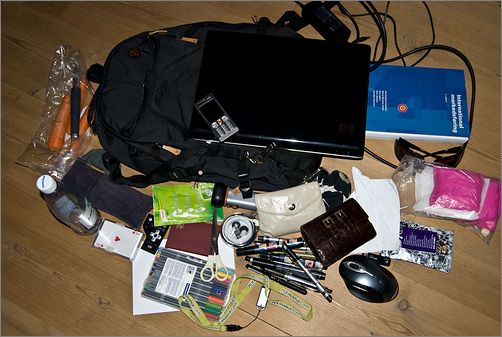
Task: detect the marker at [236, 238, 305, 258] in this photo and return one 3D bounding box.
[{"bbox_3d":[0.087,0.348,1.902,0.301,0.040,0.044,-8,31,-2],"label":"marker"}]

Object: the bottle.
[{"bbox_3d":[-0.780,0.169,1.853,0.090,0.384,0.151,39,75,15],"label":"bottle"}]

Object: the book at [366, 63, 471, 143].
[{"bbox_3d":[0.758,-0.297,1.983,0.481,0.092,0.334,6,82,3],"label":"book"}]

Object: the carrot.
[{"bbox_3d":[-0.846,-0.246,2.021,0.182,0.084,0.330,10,81,-5],"label":"carrot"}]

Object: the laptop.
[{"bbox_3d":[0.138,-0.344,1.908,0.760,0.087,0.508,7,77,4],"label":"laptop"}]

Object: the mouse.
[{"bbox_3d":[0.501,0.464,1.855,0.260,0.087,0.191,31,72,39],"label":"mouse"}]

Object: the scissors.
[{"bbox_3d":[-0.169,0.336,1.902,0.126,0.072,0.326,-3,76,2],"label":"scissors"}]

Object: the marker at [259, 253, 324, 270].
[{"bbox_3d":[0.186,0.410,1.893,0.316,0.044,0.042,6,56,7],"label":"marker"}]

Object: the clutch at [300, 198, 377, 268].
[{"bbox_3d":[0.379,0.277,1.857,0.284,0.099,0.202,-29,77,-5],"label":"clutch"}]

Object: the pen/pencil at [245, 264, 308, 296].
[{"bbox_3d":[0.116,0.488,1.890,0.281,0.029,0.029,24,75,5],"label":"pen/pencil"}]

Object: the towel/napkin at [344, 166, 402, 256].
[{"bbox_3d":[0.539,0.200,1.895,0.343,0.168,0.444,5,49,13],"label":"towel/napkin"}]
